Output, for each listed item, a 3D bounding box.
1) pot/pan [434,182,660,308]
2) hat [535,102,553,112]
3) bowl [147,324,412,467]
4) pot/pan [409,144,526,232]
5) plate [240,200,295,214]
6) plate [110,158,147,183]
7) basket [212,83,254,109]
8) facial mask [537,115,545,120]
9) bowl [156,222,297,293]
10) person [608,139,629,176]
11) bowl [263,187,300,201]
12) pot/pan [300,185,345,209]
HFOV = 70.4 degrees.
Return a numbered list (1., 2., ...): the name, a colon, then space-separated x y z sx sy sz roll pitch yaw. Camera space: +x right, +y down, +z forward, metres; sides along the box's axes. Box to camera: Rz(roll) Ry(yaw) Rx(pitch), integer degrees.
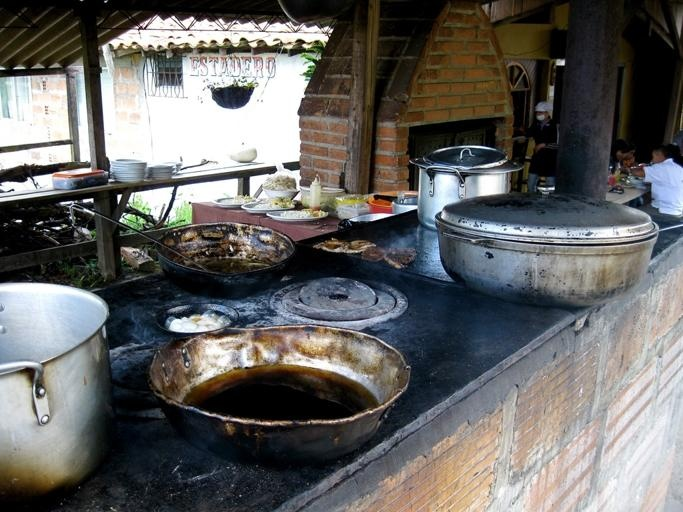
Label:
1. pot/pan: 0.620 -0.055 1.557 0.578 0.188 0.482 -8 13 -28
2. hat: 3.185 -2.320 7.485 0.304 0.097 0.233 -5 7 -43
3. bowl: -0.137 0.279 1.025 0.538 0.092 0.472 -3 14 -34
4. pot/pan: 0.571 -0.371 2.439 0.532 0.284 0.505 -16 23 -34
5. plate: -0.560 -0.375 3.694 0.239 0.025 0.220 -9 18 -31
6. plate: -2.172 -0.883 5.000 0.333 0.131 0.292 8 16 21
7. basket: -1.312 -1.957 5.889 0.506 0.291 0.268 -2 13 -10
8. facial mask: 3.070 -2.134 7.473 0.093 0.042 0.090 -17 20 -35
9. bowl: -0.365 -0.006 1.570 0.428 0.161 0.450 0 11 0
10. person: 3.794 -1.373 6.604 0.238 0.510 1.838 7 13 28
11. bowl: -0.495 -0.518 4.049 0.288 0.080 0.179 -1 11 -6
12. pot/pan: -0.149 -0.443 3.689 0.352 0.118 0.353 1 9 -3
